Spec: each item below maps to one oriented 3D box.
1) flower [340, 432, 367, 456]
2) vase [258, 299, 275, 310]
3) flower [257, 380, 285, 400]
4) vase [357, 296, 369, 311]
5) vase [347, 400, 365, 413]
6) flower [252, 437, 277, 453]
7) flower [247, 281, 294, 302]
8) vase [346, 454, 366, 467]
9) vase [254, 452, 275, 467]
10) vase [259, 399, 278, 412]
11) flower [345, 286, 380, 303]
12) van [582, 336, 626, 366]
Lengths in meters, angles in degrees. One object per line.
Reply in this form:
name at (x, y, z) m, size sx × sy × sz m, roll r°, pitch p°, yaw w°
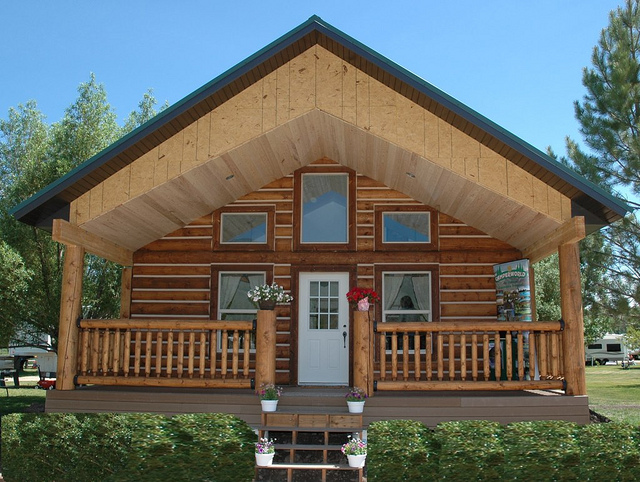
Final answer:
flower at (0.620, 3.880, 11.966) m, size 0.393 × 0.281 × 0.413 m, roll 4°, pitch -6°, yaw -13°
vase at (-1.112, 1.333, 12.915) m, size 0.224 × 0.100 × 0.225 m, roll -4°, pitch -14°, yaw 13°
flower at (-1.005, 3.020, 12.568) m, size 0.512 × 0.350 × 0.359 m, roll 4°, pitch -11°, yaw -17°
vase at (0.880, 1.319, 13.010) m, size 0.228 × 0.169 × 0.217 m, roll 4°, pitch -9°, yaw -12°
vase at (0.673, 3.266, 12.295) m, size 0.299 × 0.240 × 0.183 m, roll 2°, pitch -10°, yaw -3°
flower at (-1.073, 3.901, 11.934) m, size 0.309 × 0.193 × 0.310 m, roll -7°, pitch -16°, yaw 25°
flower at (-1.127, 1.106, 13.196) m, size 0.760 × 0.391 × 0.750 m, roll 5°, pitch -9°, yaw -17°
vase at (0.665, 4.130, 11.830) m, size 0.282 × 0.171 × 0.279 m, roll 2°, pitch -18°, yaw -3°
vase at (-1.069, 4.147, 11.845) m, size 0.292 × 0.178 × 0.289 m, roll 19°, pitch -27°, yaw -38°
vase at (-1.016, 3.276, 12.413) m, size 0.257 × 0.163 × 0.263 m, roll 13°, pitch -17°, yaw -37°
flower at (0.929, 1.168, 13.525) m, size 0.466 × 0.319 × 0.469 m, roll 1°, pitch -4°, yaw 5°
van at (22.184, 8.503, 48.902) m, size 2.871 × 2.369 × 2.821 m, roll -3°, pitch -11°, yaw 22°
